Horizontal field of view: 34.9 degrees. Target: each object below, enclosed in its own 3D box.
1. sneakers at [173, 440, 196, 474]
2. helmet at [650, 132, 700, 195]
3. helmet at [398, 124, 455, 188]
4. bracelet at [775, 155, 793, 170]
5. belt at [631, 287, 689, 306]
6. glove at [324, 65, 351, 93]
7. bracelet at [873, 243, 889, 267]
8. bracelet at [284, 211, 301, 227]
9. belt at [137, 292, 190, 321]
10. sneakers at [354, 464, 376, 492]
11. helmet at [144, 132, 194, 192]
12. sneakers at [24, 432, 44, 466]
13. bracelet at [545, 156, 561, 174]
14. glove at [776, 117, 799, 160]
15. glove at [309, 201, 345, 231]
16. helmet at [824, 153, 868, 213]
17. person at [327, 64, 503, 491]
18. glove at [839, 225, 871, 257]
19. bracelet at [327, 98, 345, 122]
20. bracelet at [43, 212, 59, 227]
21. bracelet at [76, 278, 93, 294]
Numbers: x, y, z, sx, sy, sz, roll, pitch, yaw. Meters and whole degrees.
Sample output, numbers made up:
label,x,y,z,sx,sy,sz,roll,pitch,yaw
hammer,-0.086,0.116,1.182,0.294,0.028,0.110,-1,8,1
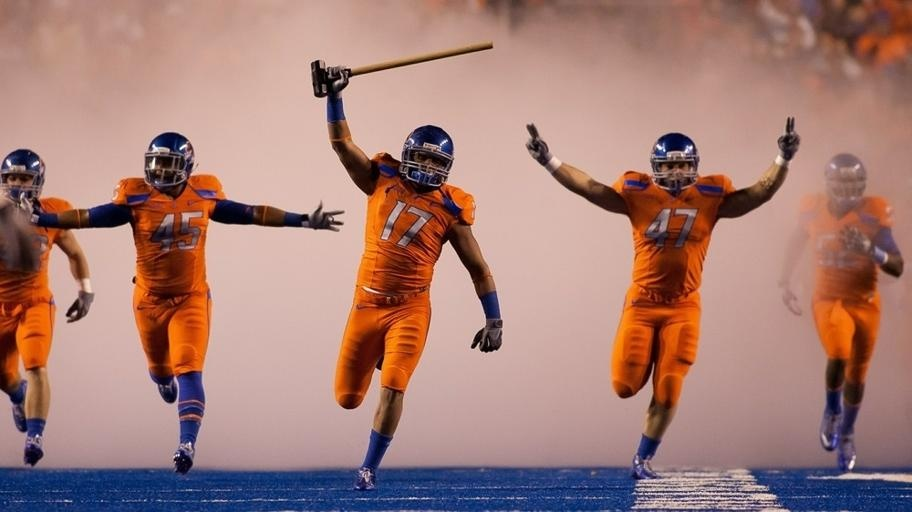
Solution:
label,x,y,z,sx,sy,sz,roll,pitch,yaw
sneakers,-2.093,1.512,11.040,0.122,0.155,0.280,-16,16,-5
helmet,1.681,-0.757,11.566,0.422,0.425,0.477,0,4,3
helmet,-0.252,-0.797,11.275,0.398,0.383,0.498,14,15,-10
bracelet,2.591,-0.742,11.389,0.112,0.068,0.105,19,3,-6
belt,1.603,0.311,11.363,0.453,0.144,0.072,4,0,4
glove,-0.904,-1.357,11.161,0.195,0.213,0.184,4,0,-5
bracelet,3.439,-0.009,11.720,0.079,0.071,0.249,30,-2,46
bracelet,-1.274,-0.284,11.321,0.129,0.070,0.099,3,1,36
belt,-2.333,0.392,11.321,0.245,0.111,0.311,6,-8,-42
sneakers,-0.709,1.711,11.176,0.138,0.145,0.219,6,-29,-1
helmet,-2.220,-0.743,11.442,0.393,0.383,0.462,3,0,5
sneakers,-3.364,1.555,11.467,0.153,0.382,0.169,9,45,-17
bracelet,0.773,-0.721,11.490,0.133,0.121,0.124,-39,-10,11
glove,2.627,-0.929,11.405,0.150,0.344,0.281,5,0,11
glove,-1.056,-0.328,11.694,0.291,0.173,0.085,-1,14,-15
helmet,3.207,-0.607,11.927,0.373,0.458,0.485,-2,23,8
person,-0.413,0.192,11.148,1.488,3.199,0.392,5,0,-6
glove,3.252,-0.123,11.691,0.277,0.248,0.304,4,0,13
bracelet,-0.931,-1.132,11.164,0.127,0.189,0.142,5,0,-7
bracelet,-3.179,-0.284,11.277,0.128,0.083,0.045,-1,1,25
bracelet,-3.075,0.246,11.906,0.119,0.162,0.109,-6,-18,-11
